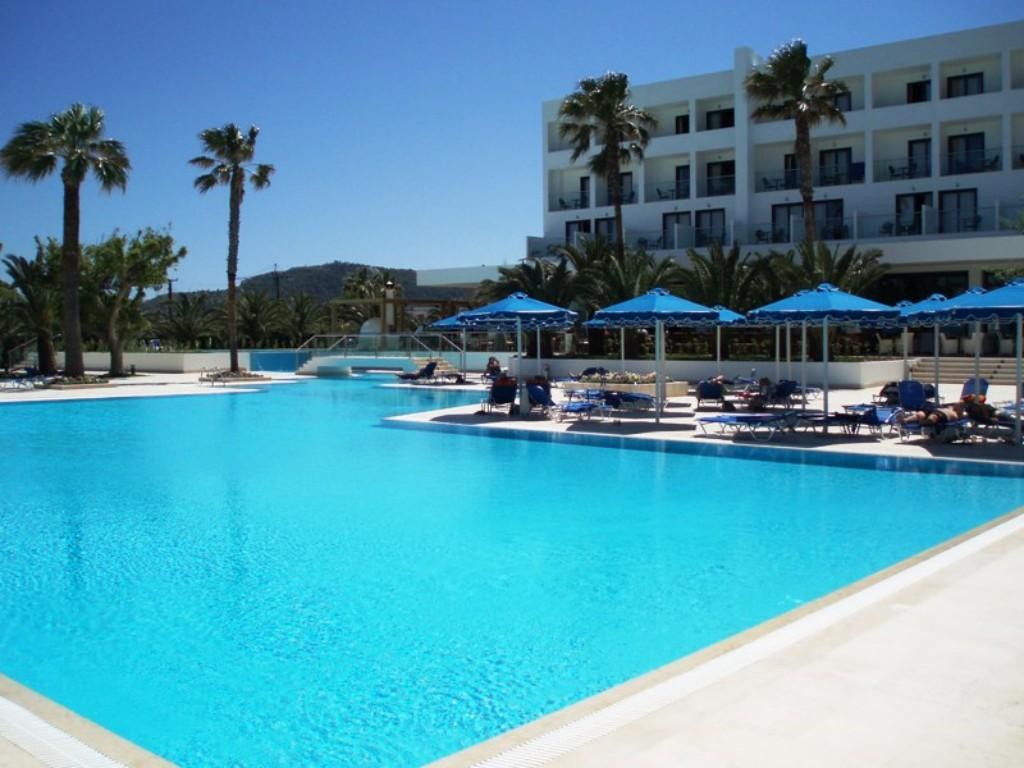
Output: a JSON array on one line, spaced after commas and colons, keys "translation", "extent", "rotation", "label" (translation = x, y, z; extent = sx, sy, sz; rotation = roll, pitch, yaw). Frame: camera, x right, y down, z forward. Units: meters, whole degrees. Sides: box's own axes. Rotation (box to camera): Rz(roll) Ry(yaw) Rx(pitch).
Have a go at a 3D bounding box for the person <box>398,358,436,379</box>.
[{"translation": [-3.863, -0.555, 35.574], "extent": [1.028, 0.733, 1.100], "rotation": [-1, 0, 7], "label": "person"}]
